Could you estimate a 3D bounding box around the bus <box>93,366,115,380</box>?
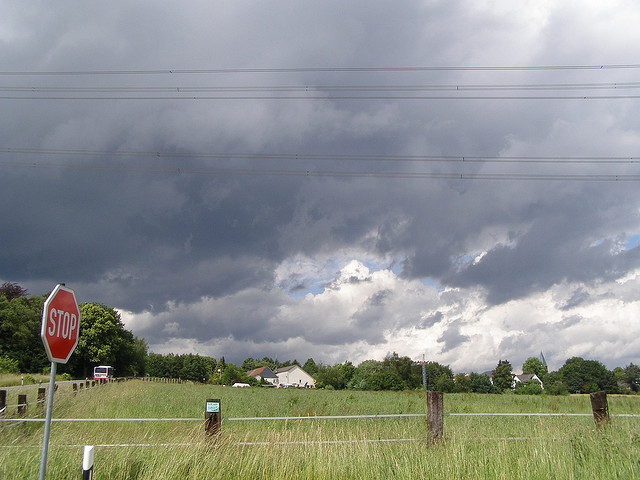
[{"bbox_3d":[-24.102,14.836,71.559,1.568,1.537,4.979,0,-23,-7],"label":"bus"}]
